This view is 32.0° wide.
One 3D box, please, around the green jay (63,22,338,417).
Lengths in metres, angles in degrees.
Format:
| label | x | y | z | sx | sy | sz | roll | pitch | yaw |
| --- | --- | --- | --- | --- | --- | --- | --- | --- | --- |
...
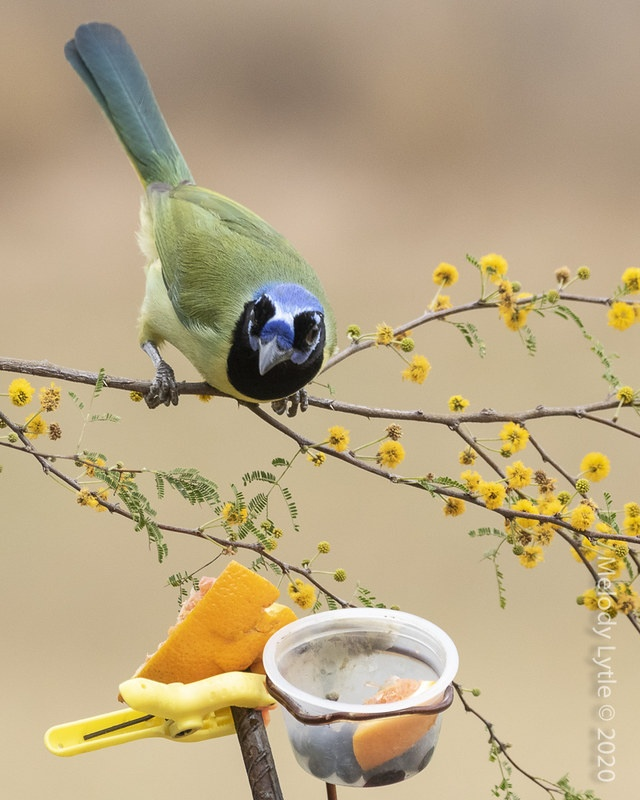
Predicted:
| label | x | y | z | sx | sy | sz | roll | pitch | yaw |
| --- | --- | --- | --- | --- | --- | --- | --- | --- | --- |
| green jay | -0.449 | -0.626 | 3.693 | 0.528 | 1.501 | 0.757 | -23 | -18 | -25 |
